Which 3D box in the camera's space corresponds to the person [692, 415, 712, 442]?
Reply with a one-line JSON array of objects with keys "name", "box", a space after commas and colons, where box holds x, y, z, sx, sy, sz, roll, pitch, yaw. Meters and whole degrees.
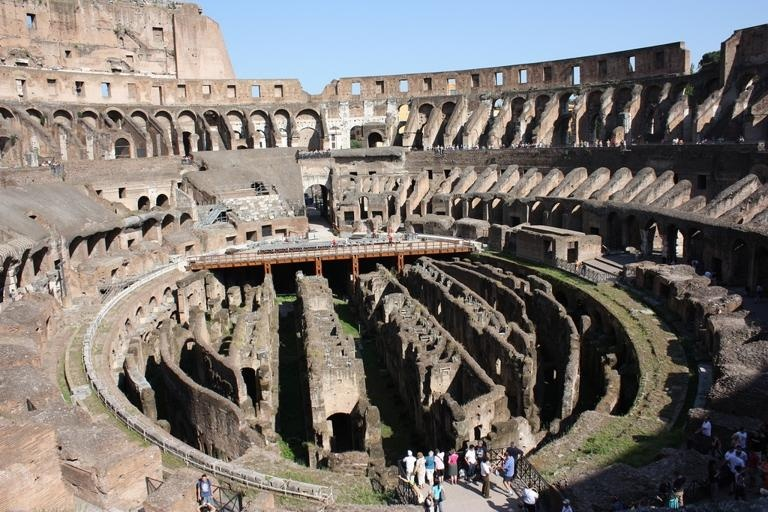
[{"name": "person", "box": [9.120, 4.912, 17.122, 0.306, 0.831, 0.273, 40, -15, 7]}]

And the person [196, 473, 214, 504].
[{"name": "person", "box": [-4.671, 6.029, 15.541, 0.407, 0.767, 0.609, 4, 4, -12]}]
